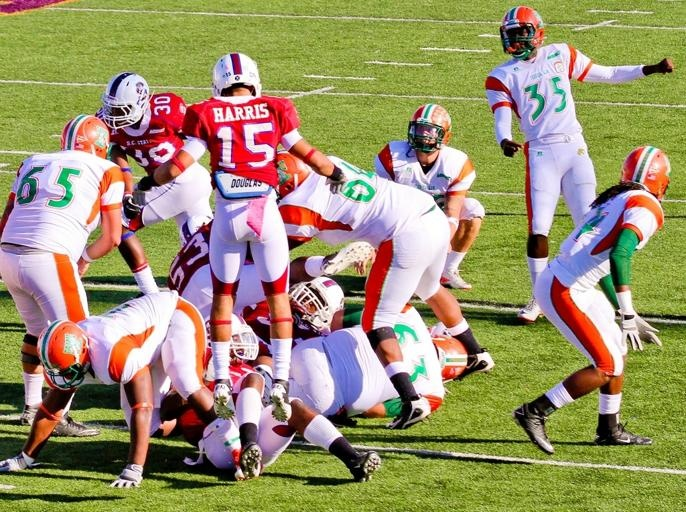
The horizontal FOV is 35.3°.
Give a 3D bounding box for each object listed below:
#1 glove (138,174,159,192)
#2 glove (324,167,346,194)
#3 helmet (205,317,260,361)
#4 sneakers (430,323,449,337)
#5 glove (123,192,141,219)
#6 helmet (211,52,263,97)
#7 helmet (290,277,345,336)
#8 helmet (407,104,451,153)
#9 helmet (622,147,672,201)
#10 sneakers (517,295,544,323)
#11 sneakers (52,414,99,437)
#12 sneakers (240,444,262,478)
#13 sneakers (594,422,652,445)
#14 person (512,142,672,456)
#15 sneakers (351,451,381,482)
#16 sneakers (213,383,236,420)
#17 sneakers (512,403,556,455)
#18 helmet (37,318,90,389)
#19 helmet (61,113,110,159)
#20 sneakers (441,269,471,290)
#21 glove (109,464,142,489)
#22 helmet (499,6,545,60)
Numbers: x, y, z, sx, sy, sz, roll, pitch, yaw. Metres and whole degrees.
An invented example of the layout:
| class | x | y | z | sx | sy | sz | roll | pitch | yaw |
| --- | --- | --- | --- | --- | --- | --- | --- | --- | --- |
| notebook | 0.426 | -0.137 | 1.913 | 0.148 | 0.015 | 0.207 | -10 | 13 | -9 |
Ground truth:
| class | x | y | z | sx | sy | sz | roll | pitch | yaw |
| --- | --- | --- | --- | --- | --- | --- | --- | --- | --- |
| glove | -1.339 | -0.501 | 7.413 | 0.101 | 0.135 | 0.061 | 42 | 23 | -18 |
| glove | -0.051 | -0.523 | 7.455 | 0.114 | 0.168 | 0.048 | 35 | 45 | 14 |
| helmet | -0.792 | 0.548 | 7.628 | 0.448 | 0.342 | 0.311 | 5 | -8 | -6 |
| sneakers | 0.746 | 0.572 | 8.303 | 0.090 | 0.107 | 0.097 | -14 | -12 | 17 |
| glove | -1.456 | -0.345 | 7.445 | 0.140 | 0.150 | 0.167 | 1 | 4 | -5 |
| helmet | -0.753 | -1.291 | 7.596 | 0.343 | 0.345 | 0.440 | -7 | 13 | -12 |
| helmet | -0.212 | 0.385 | 7.951 | 0.427 | 0.309 | 0.329 | -28 | -3 | -13 |
| helmet | 0.706 | -1.065 | 8.668 | 0.335 | 0.352 | 0.449 | 18 | 24 | 26 |
| helmet | 2.173 | -0.592 | 7.619 | 0.342 | 0.299 | 0.255 | 8 | 8 | -41 |
| sneakers | 1.576 | 0.466 | 9.028 | 0.123 | 0.162 | 0.359 | 4 | 5 | 16 |
| sneakers | -1.861 | 1.180 | 7.560 | 0.379 | 0.170 | 0.128 | 2 | 7 | -8 |
| sneakers | -0.577 | 1.287 | 6.853 | 0.113 | 0.228 | 0.108 | 3 | 16 | -6 |
| sneakers | 1.957 | 1.238 | 7.531 | 0.380 | 0.150 | 0.151 | -2 | 1 | -2 |
| person | 1.754 | 0.287 | 7.492 | 0.906 | 1.958 | 1.122 | 5 | 19 | 16 |
| sneakers | 0.140 | 1.349 | 6.901 | 0.141 | 0.108 | 0.273 | 7 | -29 | -18 |
| sneakers | -0.779 | 0.927 | 7.029 | 0.125 | 0.177 | 0.294 | -2 | 18 | -7 |
| sneakers | 1.312 | 1.190 | 7.415 | 0.248 | 0.348 | 0.115 | -38 | 6 | 3 |
| helmet | -1.735 | 0.622 | 6.901 | 0.343 | 0.408 | 0.487 | -12 | -16 | 37 |
| helmet | -1.899 | -0.825 | 7.919 | 0.324 | 0.395 | 0.412 | 3 | 4 | 23 |
| sneakers | 1.004 | 0.191 | 9.604 | 0.350 | 0.148 | 0.118 | 12 | 34 | 5 |
| glove | -1.359 | 1.408 | 6.802 | 0.143 | 0.175 | 0.075 | 35 | -15 | -9 |
| helmet | 1.554 | -1.961 | 9.537 | 0.374 | 0.396 | 0.481 | -5 | 5 | 24 |
